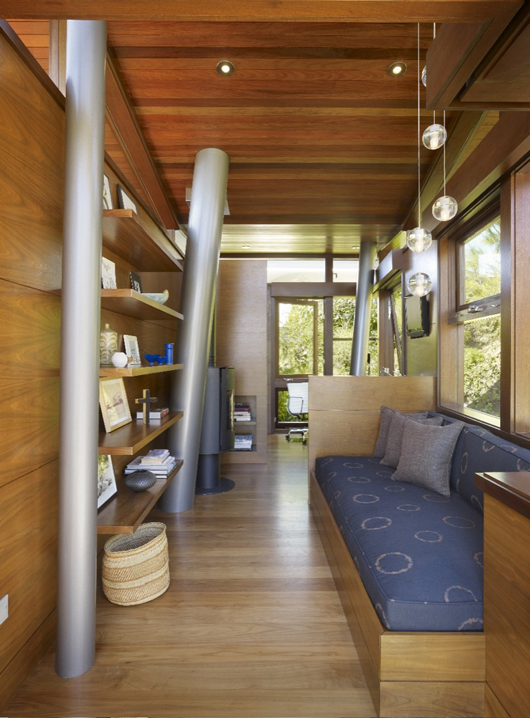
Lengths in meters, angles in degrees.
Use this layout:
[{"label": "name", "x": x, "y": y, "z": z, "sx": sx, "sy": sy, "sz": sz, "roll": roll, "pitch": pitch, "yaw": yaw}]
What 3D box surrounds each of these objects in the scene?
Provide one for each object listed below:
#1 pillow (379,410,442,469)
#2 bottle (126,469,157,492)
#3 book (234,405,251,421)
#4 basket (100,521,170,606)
[{"label": "pillow", "x": 0.816, "y": 0.465, "z": 3.081, "sx": 0.098, "sy": 0.194, "sz": 0.277, "roll": 31, "pitch": -16, "yaw": -8}, {"label": "bottle", "x": -0.635, "y": 0.614, "z": 2.795, "sx": 0.112, "sy": 0.063, "sz": 0.116, "roll": 1, "pitch": 3, "yaw": 0}, {"label": "book", "x": -0.216, "y": 0.510, "z": 5.185, "sx": 0.153, "sy": 0.109, "sz": 0.139, "roll": 1, "pitch": 0, "yaw": -3}, {"label": "basket", "x": -0.590, "y": 0.927, "z": 2.448, "sx": 0.227, "sy": 0.286, "sz": 0.397, "roll": -6, "pitch": -1, "yaw": 17}]
